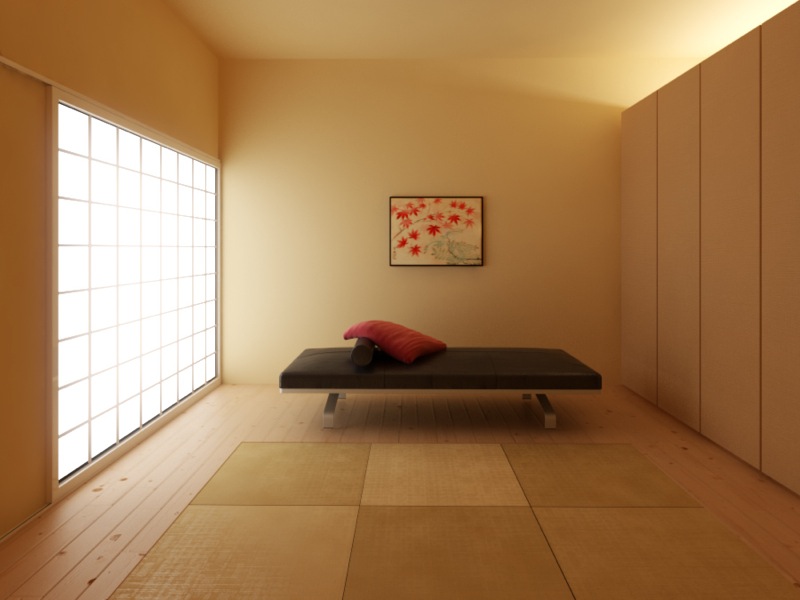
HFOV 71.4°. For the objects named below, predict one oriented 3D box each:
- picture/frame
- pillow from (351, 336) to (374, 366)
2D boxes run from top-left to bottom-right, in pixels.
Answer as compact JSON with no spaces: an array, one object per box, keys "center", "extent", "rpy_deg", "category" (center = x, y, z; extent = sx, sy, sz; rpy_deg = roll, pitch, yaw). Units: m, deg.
[{"center":[0.415,-0.724,5.751],"extent":[0.734,0.532,0.025],"rpy_deg":[0,5,1],"category":"picture/frame"},{"center":[-0.311,0.472,4.687],"extent":[0.152,0.151,0.354],"rpy_deg":[7,10,3],"category":"pillow"}]
